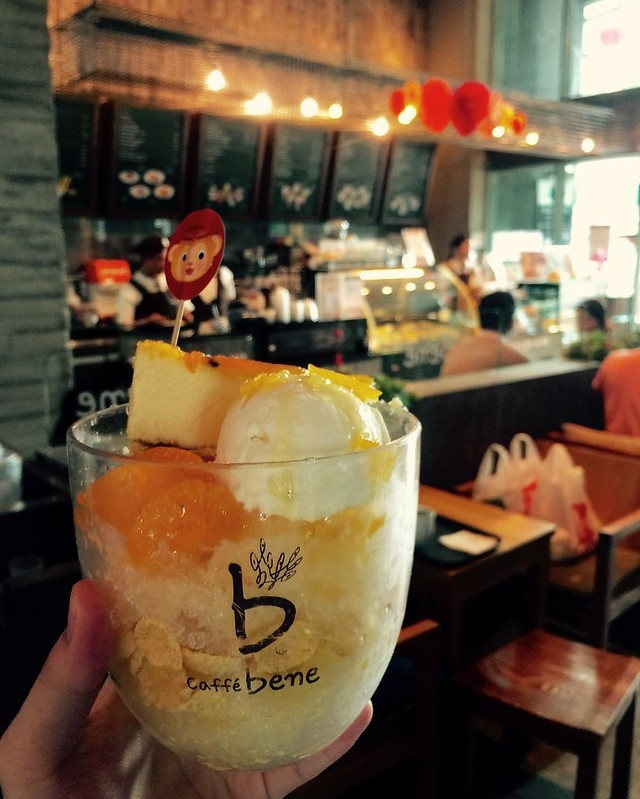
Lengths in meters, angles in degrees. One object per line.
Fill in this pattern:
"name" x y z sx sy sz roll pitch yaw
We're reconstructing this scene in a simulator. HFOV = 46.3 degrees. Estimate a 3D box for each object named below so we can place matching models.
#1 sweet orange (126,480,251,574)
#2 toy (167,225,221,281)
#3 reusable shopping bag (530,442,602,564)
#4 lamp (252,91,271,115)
"sweet orange" -0.088 0.078 0.478 0.083 0.069 0.014 3 15 17
"toy" -0.115 -0.137 0.707 0.036 0.045 0.050 3 9 -26
"reusable shopping bag" 0.492 0.208 1.532 0.147 0.211 0.130 9 12 39
"lamp" -0.132 -0.694 1.756 0.036 0.044 0.069 1 13 10
